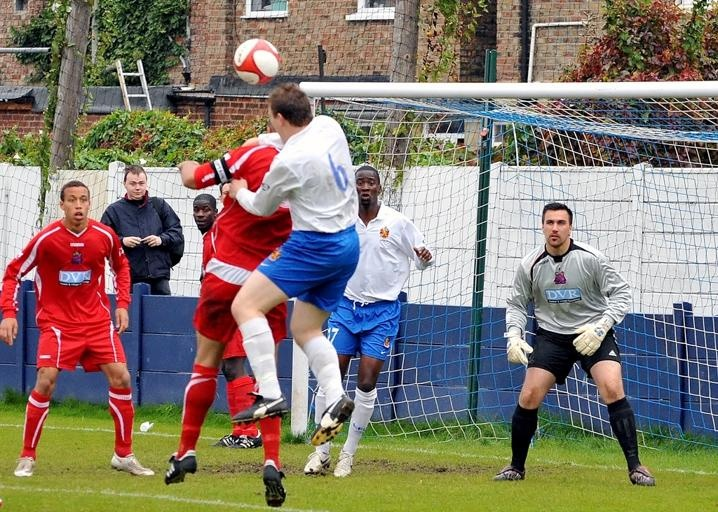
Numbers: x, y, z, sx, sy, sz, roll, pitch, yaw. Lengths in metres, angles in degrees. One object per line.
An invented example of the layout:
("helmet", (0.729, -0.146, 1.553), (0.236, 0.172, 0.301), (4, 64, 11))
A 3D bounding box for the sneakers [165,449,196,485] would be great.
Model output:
("sneakers", (-1.452, 1.718, 7.870), (0.169, 0.290, 0.308), (0, 4, -43))

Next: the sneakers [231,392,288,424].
("sneakers", (-0.750, 1.207, 7.610), (0.493, 0.244, 0.185), (-13, -9, -8))

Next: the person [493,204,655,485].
("person", (1.956, 0.785, 8.900), (1.227, 2.527, 0.561), (3, 3, 11))

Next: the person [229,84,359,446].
("person", (-0.545, 0.038, 7.920), (0.996, 2.836, 0.926), (4, -6, -12))

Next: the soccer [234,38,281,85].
("soccer", (-0.861, -1.651, 8.250), (0.369, 0.395, 0.305), (2, 3, -10))

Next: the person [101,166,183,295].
("person", (-2.625, -0.016, 12.004), (0.902, 2.126, 0.637), (-8, 17, -17))

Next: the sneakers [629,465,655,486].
("sneakers", (2.492, 1.949, 8.601), (0.114, 0.110, 0.217), (-3, -10, -11))

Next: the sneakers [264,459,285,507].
("sneakers", (-0.634, 1.761, 7.511), (0.139, 0.346, 0.159), (-4, 42, 8))

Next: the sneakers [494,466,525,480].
("sneakers", (1.366, 1.952, 8.815), (0.196, 0.103, 0.130), (2, -3, -1))

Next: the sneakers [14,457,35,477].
("sneakers", (-3.000, 1.892, 8.742), (0.169, 0.155, 0.226), (1, 3, -20))

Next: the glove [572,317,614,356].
("glove", (2.116, 0.701, 8.804), (0.245, 0.413, 0.148), (35, 1, 10))
